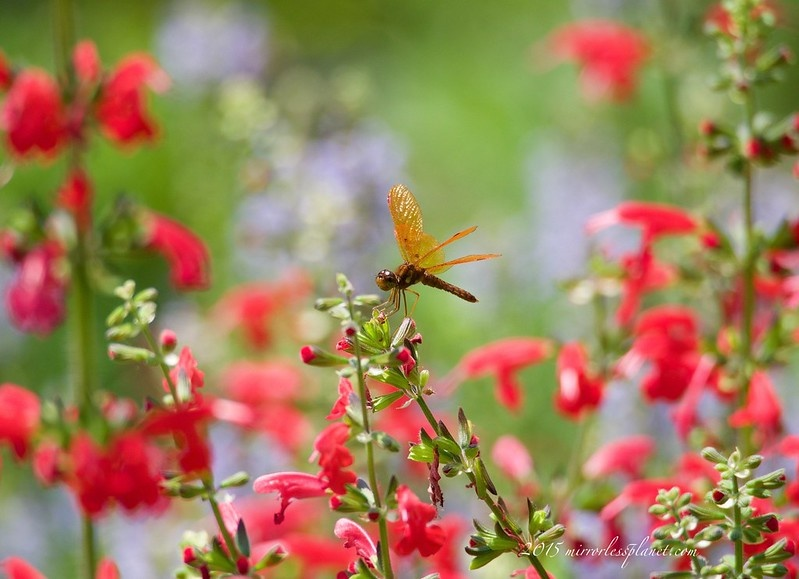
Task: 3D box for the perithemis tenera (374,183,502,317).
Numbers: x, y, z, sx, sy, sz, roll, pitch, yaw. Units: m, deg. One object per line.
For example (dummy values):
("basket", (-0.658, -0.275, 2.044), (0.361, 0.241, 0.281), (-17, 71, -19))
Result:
("perithemis tenera", (0.042, -0.023, 1.511), (0.136, 0.131, 0.205), (1, -17, 4))
